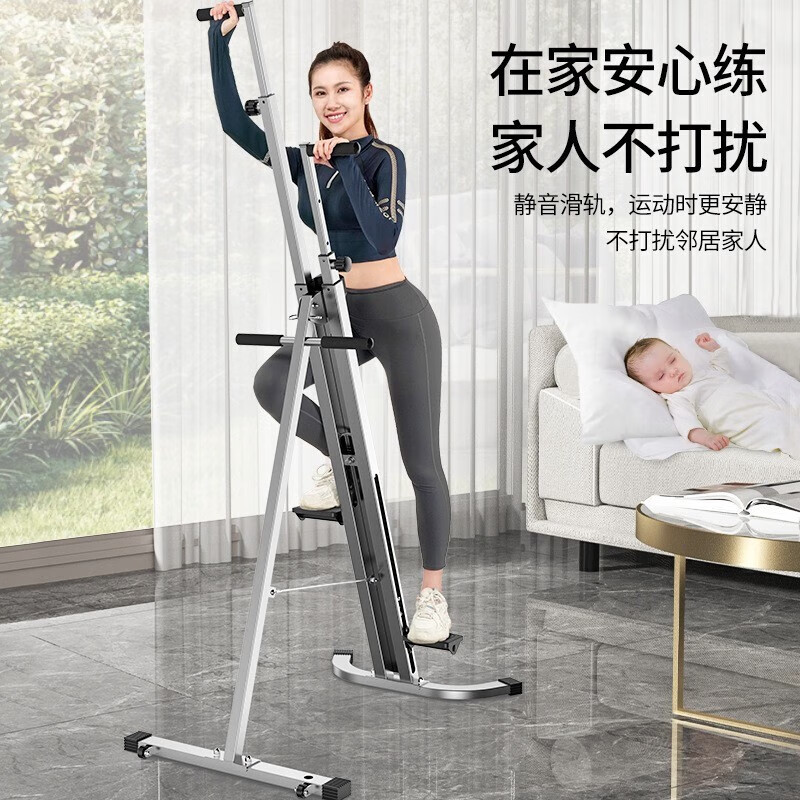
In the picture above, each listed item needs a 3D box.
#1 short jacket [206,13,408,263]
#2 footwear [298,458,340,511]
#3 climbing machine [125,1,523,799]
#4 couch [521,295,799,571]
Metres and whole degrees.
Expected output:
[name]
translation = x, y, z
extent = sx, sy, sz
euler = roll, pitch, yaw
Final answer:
[short jacket]
translation = -0.127, -0.547, 2.023
extent = 0.436, 0.541, 0.146
euler = -1, 25, 29
[footwear]
translation = -0.174, 0.199, 2.131
extent = 0.108, 0.095, 0.099
euler = 0, -1, 4
[climbing machine]
translation = -0.169, -0.053, 1.929
extent = 0.552, 1.426, 0.677
euler = 1, 3, 32
[couch]
translation = 0.972, 0.076, 3.276
extent = 0.961, 0.725, 1.006
euler = 4, 7, 44
